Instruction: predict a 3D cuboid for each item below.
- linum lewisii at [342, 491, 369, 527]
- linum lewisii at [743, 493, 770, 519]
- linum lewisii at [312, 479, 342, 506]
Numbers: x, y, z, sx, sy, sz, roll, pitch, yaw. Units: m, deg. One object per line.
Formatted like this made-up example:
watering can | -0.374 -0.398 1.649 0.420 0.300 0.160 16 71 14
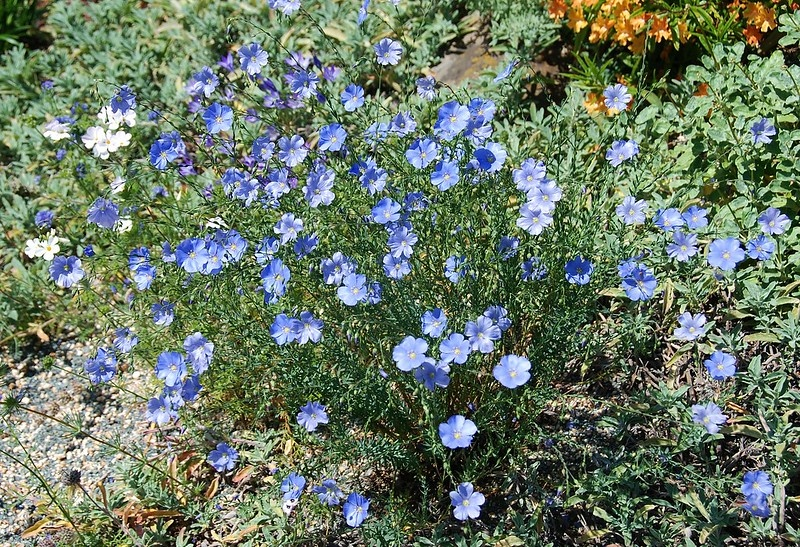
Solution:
linum lewisii | -0.215 1.155 3.842 0.119 0.145 0.278 31 -7 8
linum lewisii | 1.703 1.096 3.702 0.144 0.099 0.061 15 -9 5
linum lewisii | -0.348 1.068 3.778 0.119 0.132 0.066 -11 16 8
